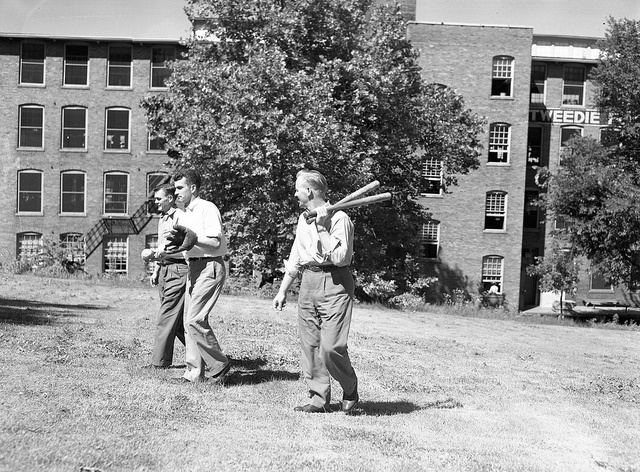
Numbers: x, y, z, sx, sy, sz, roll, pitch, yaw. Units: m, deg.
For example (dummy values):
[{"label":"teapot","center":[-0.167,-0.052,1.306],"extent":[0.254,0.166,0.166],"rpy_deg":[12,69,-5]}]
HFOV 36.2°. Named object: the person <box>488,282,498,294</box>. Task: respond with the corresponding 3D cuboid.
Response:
[{"label":"person","center":[9.502,2.833,52.914],"extent":[0.463,0.471,0.830],"rpy_deg":[1,15,13]}]
